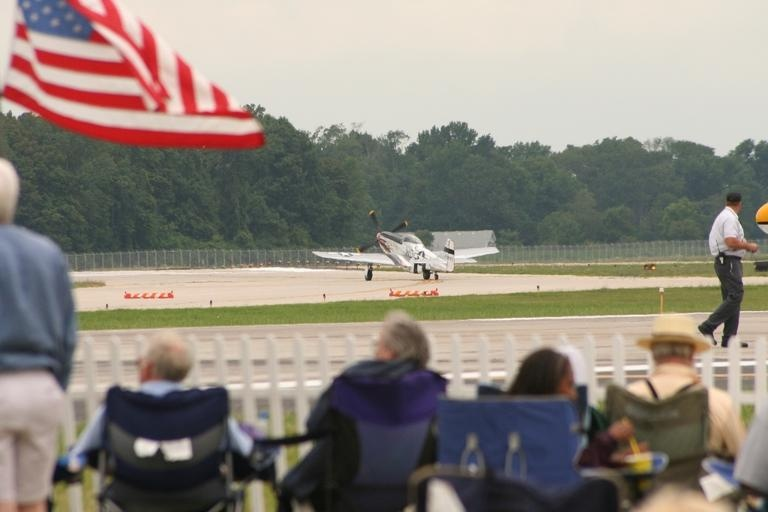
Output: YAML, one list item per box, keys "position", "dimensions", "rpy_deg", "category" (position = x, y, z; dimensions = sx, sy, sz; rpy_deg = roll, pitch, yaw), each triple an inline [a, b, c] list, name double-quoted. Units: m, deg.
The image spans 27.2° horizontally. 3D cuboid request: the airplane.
- position: [2.253, -1.353, 203.308]
  dimensions: [38.717, 9.378, 10.193]
  rpy_deg: [0, 0, 32]
  category: "airplane"
